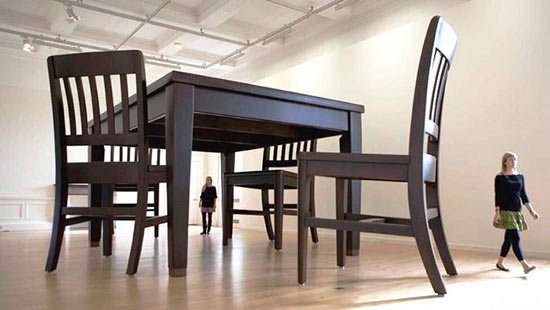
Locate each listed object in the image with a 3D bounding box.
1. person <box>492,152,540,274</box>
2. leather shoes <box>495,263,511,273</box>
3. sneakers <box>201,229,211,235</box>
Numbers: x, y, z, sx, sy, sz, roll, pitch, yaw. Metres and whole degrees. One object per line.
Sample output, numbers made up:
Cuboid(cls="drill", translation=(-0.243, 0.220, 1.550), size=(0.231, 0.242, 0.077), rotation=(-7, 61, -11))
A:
Cuboid(cls="person", translation=(2.543, 0.588, 3.958), size=(0.387, 1.412, 0.476), rotation=(2, 0, 30))
Cuboid(cls="leather shoes", translation=(2.341, 1.159, 3.858), size=(0.053, 0.052, 0.137), rotation=(2, 0, -42))
Cuboid(cls="sneakers", translation=(-1.207, 1.343, 6.497), size=(0.105, 0.074, 0.198), rotation=(-10, -18, 33))
